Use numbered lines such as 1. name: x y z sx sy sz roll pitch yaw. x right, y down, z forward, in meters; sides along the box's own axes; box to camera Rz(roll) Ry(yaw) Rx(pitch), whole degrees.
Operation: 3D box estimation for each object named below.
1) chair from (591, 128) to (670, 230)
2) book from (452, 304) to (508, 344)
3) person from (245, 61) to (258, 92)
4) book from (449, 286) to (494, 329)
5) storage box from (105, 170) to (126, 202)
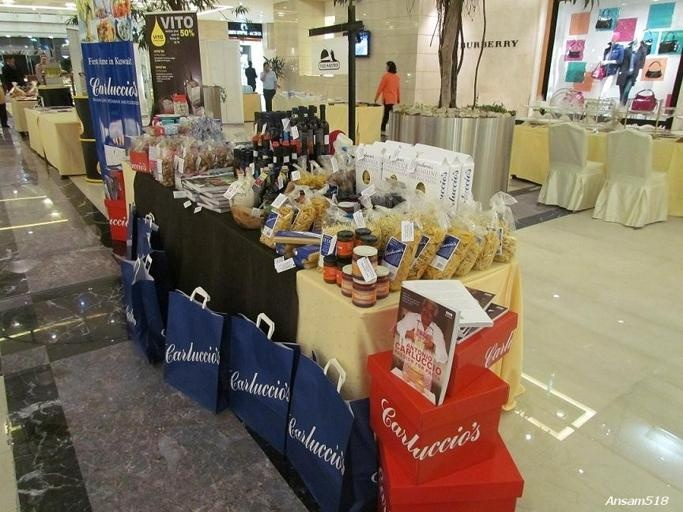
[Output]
1. chair: 3.494 -0.880 5.415 0.713 1.150 0.690 25 47 38
2. book: 0.619 0.288 1.965 0.220 0.027 0.142 -16 28 -21
3. person: -2.998 -5.920 14.789 0.317 0.952 1.297 -4 21 -10
4. book: 0.512 0.239 1.843 0.178 0.049 0.199 30 45 27
5. storage box: -2.372 -0.735 4.724 0.241 0.329 0.102 33 37 31
